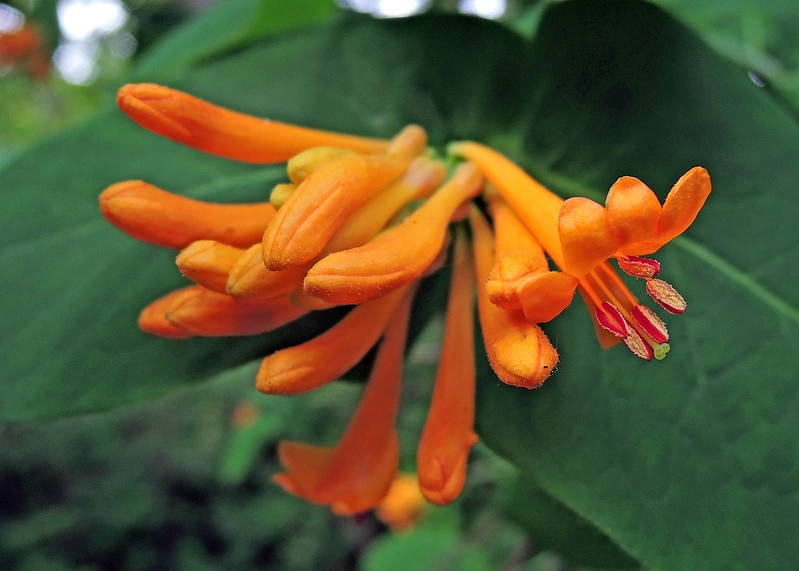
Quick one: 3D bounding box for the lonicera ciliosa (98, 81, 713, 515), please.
[{"bbox_3d":[-0.016,0.057,2.101,1.392,0.838,1.043,6,40,2],"label":"lonicera ciliosa"}]
